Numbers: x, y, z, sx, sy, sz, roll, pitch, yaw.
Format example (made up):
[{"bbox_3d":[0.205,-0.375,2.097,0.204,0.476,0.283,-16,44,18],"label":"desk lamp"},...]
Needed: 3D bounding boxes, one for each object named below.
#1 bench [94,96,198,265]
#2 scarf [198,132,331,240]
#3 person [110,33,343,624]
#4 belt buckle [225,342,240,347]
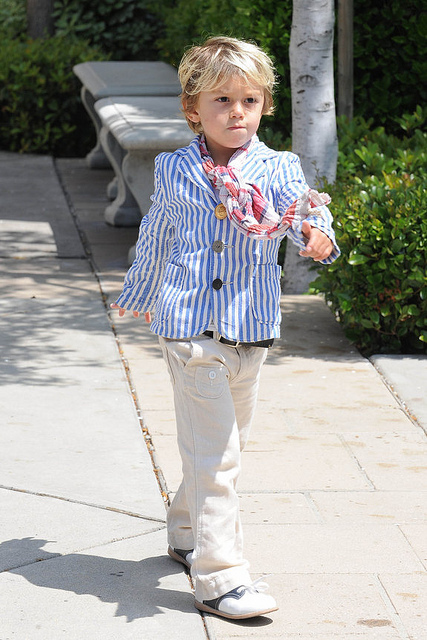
[{"bbox_3d":[-0.808,-1.619,7.709,0.918,1.853,3.108,0,12,-9],"label":"bench"},{"bbox_3d":[0.091,-0.342,1.902,0.199,0.123,0.388,-28,54,-31],"label":"scarf"},{"bbox_3d":[0.021,0.028,2.122,0.485,1.657,0.706,-2,14,-19],"label":"person"},{"bbox_3d":[0.055,0.068,1.962,0.019,0.014,0.034,14,16,43],"label":"belt buckle"}]
